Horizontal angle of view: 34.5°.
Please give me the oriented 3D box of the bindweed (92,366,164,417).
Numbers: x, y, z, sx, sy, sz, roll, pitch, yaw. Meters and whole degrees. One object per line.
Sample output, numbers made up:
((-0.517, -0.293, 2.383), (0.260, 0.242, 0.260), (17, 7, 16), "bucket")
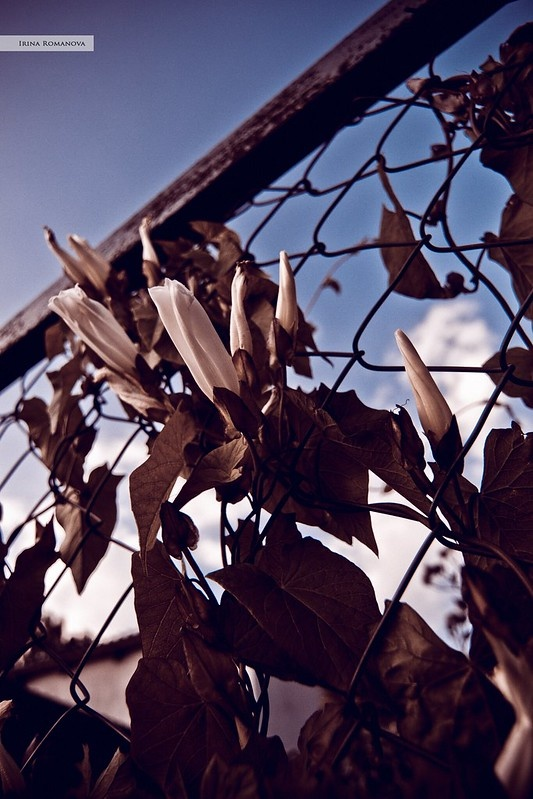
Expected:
((-0.138, -0.011, 0.925), (0.097, 0.025, 0.032), (34, 106, 25), "bindweed")

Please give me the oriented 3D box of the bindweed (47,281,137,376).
((-0.172, -0.068, 0.881), (0.050, 0.100, 0.043), (-29, 29, 3), "bindweed")

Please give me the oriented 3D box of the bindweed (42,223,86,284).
((-0.237, -0.169, 1.002), (0.019, 0.074, 0.069), (-34, 29, -6), "bindweed")
